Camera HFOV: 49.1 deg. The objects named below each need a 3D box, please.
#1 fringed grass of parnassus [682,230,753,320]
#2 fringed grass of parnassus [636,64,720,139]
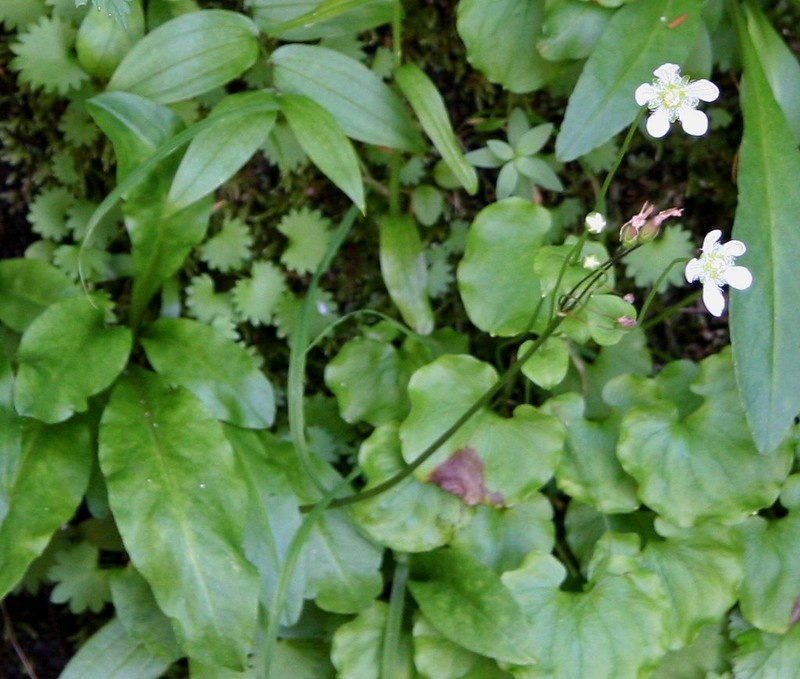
[{"bbox_3d":[0.505,-0.120,1.438,0.126,0.153,0.056,9,1,-36],"label":"fringed grass of parnassus"},{"bbox_3d":[0.434,-0.381,1.391,0.135,0.100,0.101,-8,44,-6],"label":"fringed grass of parnassus"}]
